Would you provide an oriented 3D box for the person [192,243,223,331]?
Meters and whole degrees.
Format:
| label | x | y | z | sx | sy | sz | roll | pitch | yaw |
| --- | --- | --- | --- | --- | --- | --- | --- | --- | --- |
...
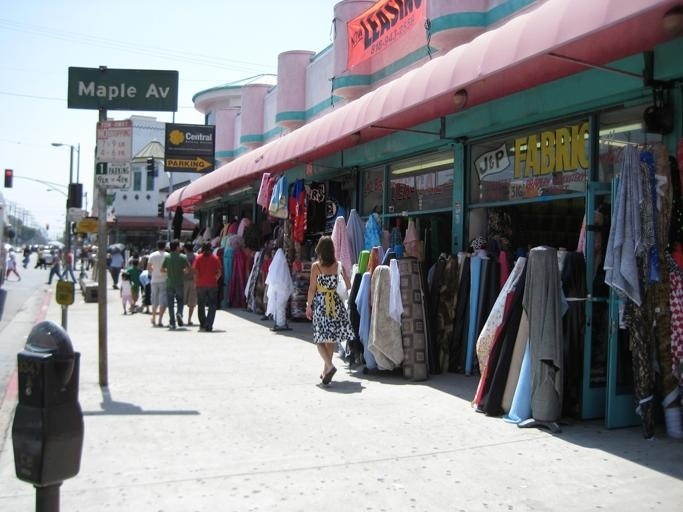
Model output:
| label | x | y | z | sx | sy | sz | roll | pitch | yaw |
| --- | --- | --- | --- | --- | --- | --- | --- | --- | --- |
| person | -2.921 | 0.671 | 12.520 | 0.581 | 1.934 | 0.977 | 3 | -1 | -15 |

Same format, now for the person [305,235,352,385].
| label | x | y | z | sx | sy | sz | roll | pitch | yaw |
| --- | --- | --- | --- | --- | --- | --- | --- | --- | --- |
| person | -0.137 | 0.716 | 7.834 | 0.632 | 1.926 | 0.730 | 3 | -1 | -4 |

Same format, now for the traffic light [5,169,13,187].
| label | x | y | z | sx | sy | sz | roll | pitch | yaw |
| --- | --- | --- | --- | --- | --- | --- | --- | --- | --- |
| traffic light | -18.485 | -4.254 | 32.172 | 0.287 | 1.142 | 1.205 | 3 | -1 | -35 |

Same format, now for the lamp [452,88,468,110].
| label | x | y | z | sx | sy | sz | roll | pitch | yaw |
| --- | --- | --- | --- | --- | --- | --- | --- | --- | --- |
| lamp | 1.649 | -2.163 | 8.079 | 0.191 | 0.290 | 0.215 | 3 | -3 | -25 |

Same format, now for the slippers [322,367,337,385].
| label | x | y | z | sx | sy | sz | roll | pitch | yaw |
| --- | --- | --- | --- | --- | --- | --- | --- | --- | --- |
| slippers | -0.160 | 1.538 | 7.520 | 0.113 | 0.315 | 0.108 | 10 | 19 | -26 |

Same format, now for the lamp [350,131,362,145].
| label | x | y | z | sx | sy | sz | roll | pitch | yaw |
| --- | --- | --- | --- | --- | --- | --- | --- | --- | --- |
| lamp | 0.282 | -2.192 | 10.745 | 0.119 | 0.172 | 0.130 | 0 | 2 | 35 |

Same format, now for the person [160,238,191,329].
| label | x | y | z | sx | sy | sz | roll | pitch | yaw |
| --- | --- | --- | --- | --- | --- | --- | --- | --- | --- |
| person | -3.725 | 0.653 | 12.973 | 0.587 | 1.983 | 0.665 | 2 | -4 | -41 |

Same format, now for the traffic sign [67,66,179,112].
| label | x | y | z | sx | sy | sz | roll | pitch | yaw |
| --- | --- | --- | --- | --- | --- | --- | --- | --- | --- |
| traffic sign | -2.870 | -2.161 | 7.529 | 1.316 | 0.648 | 0.619 | 3 | -1 | 6 |

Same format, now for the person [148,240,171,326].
| label | x | y | z | sx | sy | sz | roll | pitch | yaw |
| --- | --- | --- | --- | --- | --- | --- | --- | --- | --- |
| person | -4.196 | 0.607 | 13.188 | 0.473 | 1.801 | 0.548 | 3 | 0 | 6 |
